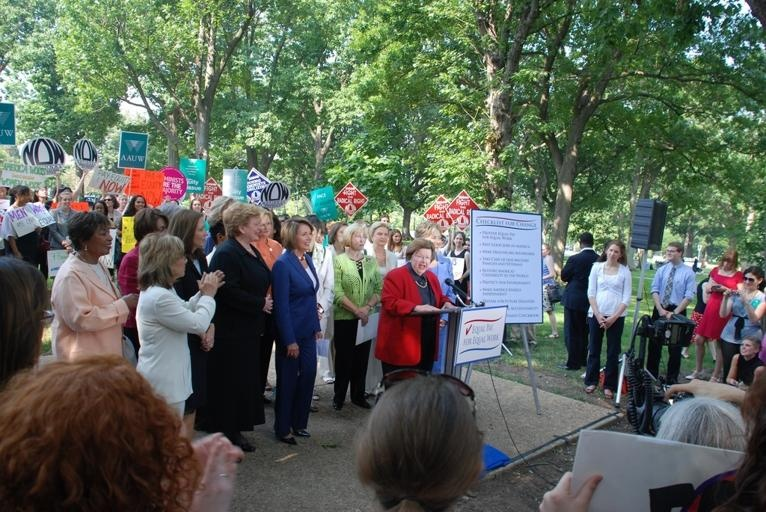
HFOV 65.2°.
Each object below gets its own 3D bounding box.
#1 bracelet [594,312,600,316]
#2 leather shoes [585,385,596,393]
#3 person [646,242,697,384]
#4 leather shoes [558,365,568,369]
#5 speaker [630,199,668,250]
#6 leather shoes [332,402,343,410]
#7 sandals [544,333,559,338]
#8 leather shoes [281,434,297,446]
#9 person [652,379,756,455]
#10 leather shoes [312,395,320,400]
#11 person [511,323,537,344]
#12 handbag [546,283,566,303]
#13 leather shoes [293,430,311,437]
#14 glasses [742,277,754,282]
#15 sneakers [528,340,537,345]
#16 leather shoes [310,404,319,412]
[{"bbox_3d":[3.082,0.841,8.588,0.070,0.055,0.069,7,9,11],"label":"bracelet"},{"bbox_3d":[3.036,1.953,8.750,0.162,0.081,0.048,7,20,-38],"label":"leather shoes"},{"bbox_3d":[4.818,1.067,10.136,0.700,2.540,0.744,3,3,-33],"label":"person"},{"bbox_3d":[2.977,1.852,9.902,0.051,0.059,0.134,2,8,-14],"label":"leather shoes"},{"bbox_3d":[3.746,-0.440,8.464,0.406,0.721,0.669,9,10,23],"label":"speaker"},{"bbox_3d":[-0.559,1.852,7.302,0.073,0.083,0.119,9,-14,-34],"label":"leather shoes"},{"bbox_3d":[3.467,1.668,12.345,0.343,0.139,0.105,10,-13,-35],"label":"sandals"},{"bbox_3d":[-0.979,1.927,6.227,0.215,0.086,0.074,-6,-6,33],"label":"leather shoes"},{"bbox_3d":[1.850,1.050,3.798,0.472,0.394,0.797,4,-6,3],"label":"person"},{"bbox_3d":[-0.861,1.815,7.630,0.064,0.040,0.111,2,-3,-24],"label":"leather shoes"},{"bbox_3d":[2.547,1.432,10.876,0.478,0.251,0.753,1,3,16],"label":"person"},{"bbox_3d":[3.282,0.723,11.472,0.425,0.423,0.152,-1,3,-26],"label":"handbag"},{"bbox_3d":[-0.876,1.893,6.397,0.188,0.082,0.068,1,11,6],"label":"leather shoes"},{"bbox_3d":[5.525,0.354,9.077,0.067,0.093,0.165,5,9,-2],"label":"glasses"},{"bbox_3d":[2.862,1.668,11.485,0.142,0.063,0.298,8,9,15],"label":"sneakers"},{"bbox_3d":[-0.833,1.855,7.252,0.085,0.031,0.112,2,3,-15],"label":"leather shoes"}]
